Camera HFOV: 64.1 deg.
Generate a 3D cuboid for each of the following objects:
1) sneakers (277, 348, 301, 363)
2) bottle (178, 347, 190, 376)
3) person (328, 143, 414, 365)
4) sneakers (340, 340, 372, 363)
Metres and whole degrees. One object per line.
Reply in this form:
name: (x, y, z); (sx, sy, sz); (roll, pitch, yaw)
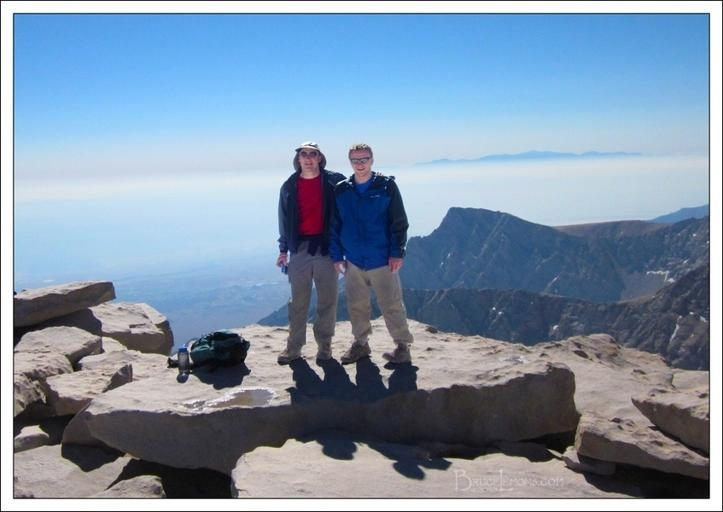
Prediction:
sneakers: (-1.185, 1.643, 9.506); (0.376, 0.209, 0.185); (4, -1, -6)
bottle: (-2.872, 1.700, 9.390); (0.176, 0.359, 0.379); (-4, 9, -19)
person: (0.151, 0.039, 8.860); (1.228, 3.399, 0.429); (-1, 9, 3)
sneakers: (-0.073, 1.552, 9.284); (0.629, 0.246, 0.209); (-4, 0, -39)
